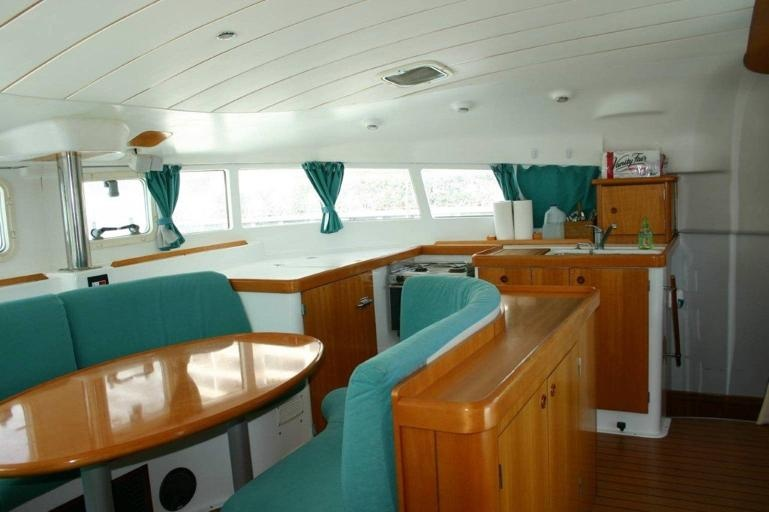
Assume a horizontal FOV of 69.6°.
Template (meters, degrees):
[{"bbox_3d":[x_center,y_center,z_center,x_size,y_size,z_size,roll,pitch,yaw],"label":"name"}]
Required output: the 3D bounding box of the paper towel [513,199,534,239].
[{"bbox_3d":[1.159,-0.302,4.601,0.157,0.327,0.124,-4,6,13],"label":"paper towel"}]

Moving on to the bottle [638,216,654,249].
[{"bbox_3d":[1.873,-0.170,3.969,0.100,0.221,0.227,-2,7,24],"label":"bottle"}]

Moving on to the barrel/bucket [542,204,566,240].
[{"bbox_3d":[1.373,-0.273,4.463,0.194,0.273,0.110,-3,7,15],"label":"barrel/bucket"}]

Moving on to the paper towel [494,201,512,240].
[{"bbox_3d":[1.020,-0.306,4.720,0.157,0.340,0.093,-3,7,18],"label":"paper towel"}]
